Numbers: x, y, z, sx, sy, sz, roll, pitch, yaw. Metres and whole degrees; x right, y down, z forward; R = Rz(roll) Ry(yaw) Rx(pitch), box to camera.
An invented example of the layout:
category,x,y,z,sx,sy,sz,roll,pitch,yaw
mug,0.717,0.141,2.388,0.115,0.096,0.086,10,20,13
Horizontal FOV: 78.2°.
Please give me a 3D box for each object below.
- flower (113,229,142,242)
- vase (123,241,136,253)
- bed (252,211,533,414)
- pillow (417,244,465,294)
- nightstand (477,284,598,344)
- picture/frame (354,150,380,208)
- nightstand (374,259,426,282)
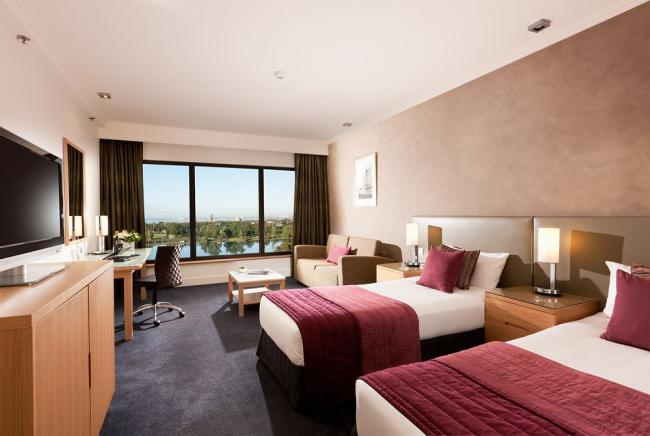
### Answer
category,x,y,z,sx,sy,sz,roll,pitch,yaw
flower,-3.134,0.288,6.385,0.352,0.204,0.349,9,-6,-30
vase,-3.258,0.498,6.686,0.268,0.202,0.270,0,3,-38
bed,0.931,0.804,4.714,2.165,1.404,2.180,2,-5,-16
pillow,1.314,0.596,4.801,0.400,0.652,0.722,8,-11,-37
nightstand,2.087,0.936,3.996,0.567,0.714,0.783,-1,-1,-19
picture/frame,0.761,-0.694,7.050,0.048,1.104,1.049,1,-2,-24
nightstand,1.072,0.655,5.477,0.440,0.423,0.290,0,0,-37
